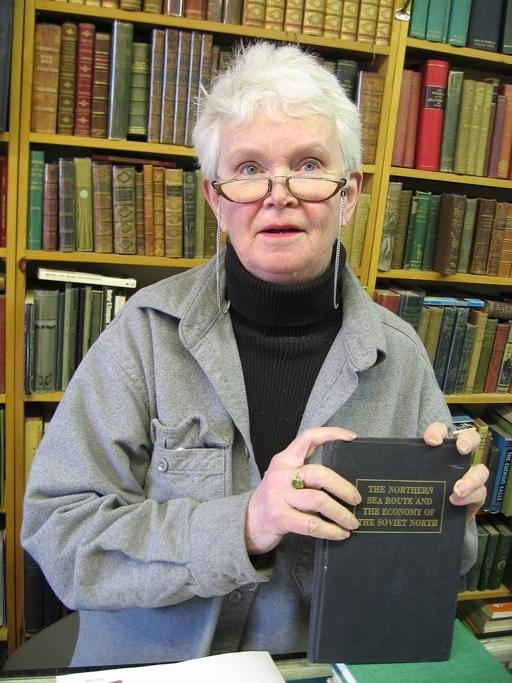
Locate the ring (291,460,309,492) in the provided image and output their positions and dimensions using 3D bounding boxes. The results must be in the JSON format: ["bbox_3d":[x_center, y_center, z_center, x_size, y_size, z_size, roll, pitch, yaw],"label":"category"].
[{"bbox_3d":[0.056,0.170,0.756,0.018,0.007,0.025,-18,44,10],"label":"ring"}]

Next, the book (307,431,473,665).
[{"bbox_3d":[0.171,0.267,0.780,0.194,0.280,0.063,2,12,-10],"label":"book"}]

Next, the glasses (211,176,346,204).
[{"bbox_3d":[0.036,-0.242,0.983,0.209,0.052,0.086,2,11,-4],"label":"glasses"}]
